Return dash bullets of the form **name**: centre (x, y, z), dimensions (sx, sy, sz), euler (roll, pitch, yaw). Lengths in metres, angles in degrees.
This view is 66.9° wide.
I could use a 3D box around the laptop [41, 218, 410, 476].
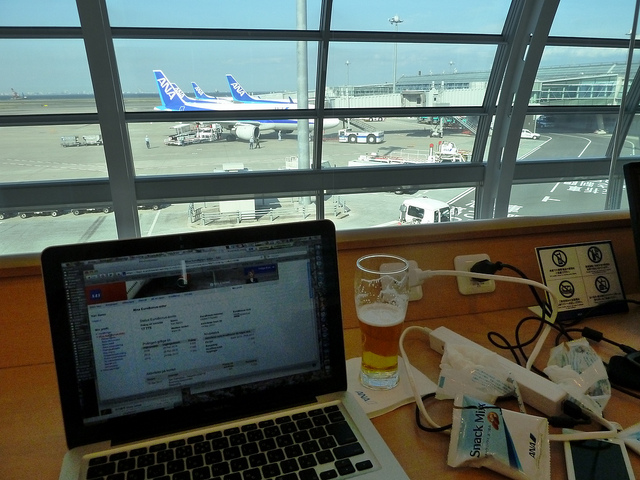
- **laptop**: centre (-0.242, 0.209, 1.022), dimensions (0.577, 0.410, 0.511), euler (-6, 18, -15)
